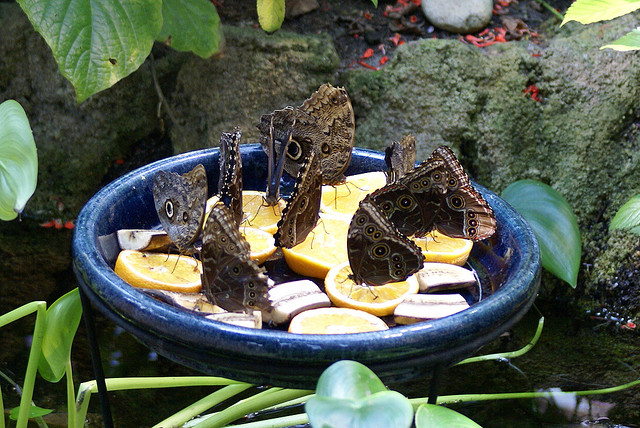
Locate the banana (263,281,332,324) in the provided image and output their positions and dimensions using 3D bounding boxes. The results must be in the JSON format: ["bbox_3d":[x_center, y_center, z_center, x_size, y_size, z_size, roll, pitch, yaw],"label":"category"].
[{"bbox_3d":[-0.096,0.334,3.108,0.210,0.052,0.157,-17,42,-28],"label":"banana"}]

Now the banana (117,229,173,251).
[{"bbox_3d":[-0.748,0.109,3.256,0.129,0.056,0.123,-1,19,-6],"label":"banana"}]

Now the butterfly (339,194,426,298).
[{"bbox_3d":[0.238,0.154,3.078,0.313,0.294,0.192,30,54,19],"label":"butterfly"}]

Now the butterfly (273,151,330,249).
[{"bbox_3d":[-0.083,-0.034,3.160,0.089,0.321,0.362,20,52,13],"label":"butterfly"}]

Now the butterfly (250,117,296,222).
[{"bbox_3d":[-0.202,-0.198,3.349,0.122,0.404,0.127,9,7,1],"label":"butterfly"}]

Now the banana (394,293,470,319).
[{"bbox_3d":[0.437,0.372,3.094,0.292,0.049,0.144,3,52,-2],"label":"banana"}]

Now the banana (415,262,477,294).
[{"bbox_3d":[0.505,0.273,3.208,0.192,0.051,0.123,3,34,-8],"label":"banana"}]
